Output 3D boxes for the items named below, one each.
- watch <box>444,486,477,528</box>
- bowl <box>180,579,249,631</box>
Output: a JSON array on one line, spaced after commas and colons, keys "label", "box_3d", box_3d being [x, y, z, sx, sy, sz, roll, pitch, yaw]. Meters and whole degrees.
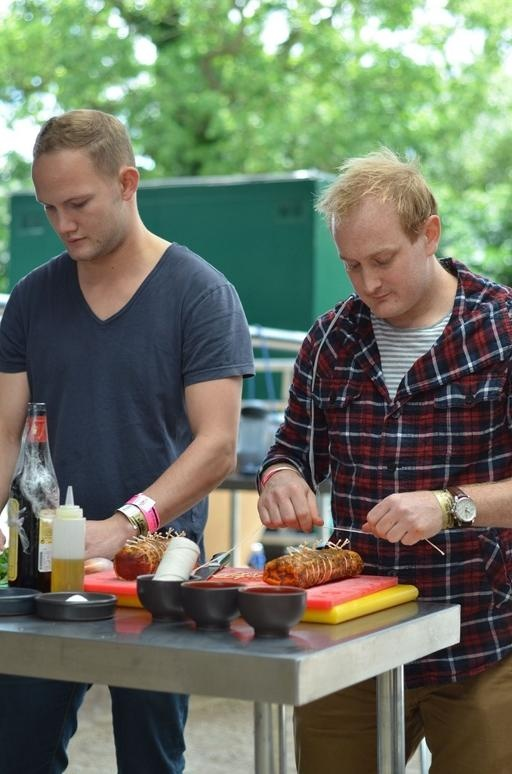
[{"label": "watch", "box_3d": [0.360, 0.217, 1.497, 0.049, 0.062, 0.068, -8, -10, -12]}, {"label": "bowl", "box_3d": [-0.057, 0.287, 1.088, 0.082, 0.042, 0.075, 1, -1, 0]}]
